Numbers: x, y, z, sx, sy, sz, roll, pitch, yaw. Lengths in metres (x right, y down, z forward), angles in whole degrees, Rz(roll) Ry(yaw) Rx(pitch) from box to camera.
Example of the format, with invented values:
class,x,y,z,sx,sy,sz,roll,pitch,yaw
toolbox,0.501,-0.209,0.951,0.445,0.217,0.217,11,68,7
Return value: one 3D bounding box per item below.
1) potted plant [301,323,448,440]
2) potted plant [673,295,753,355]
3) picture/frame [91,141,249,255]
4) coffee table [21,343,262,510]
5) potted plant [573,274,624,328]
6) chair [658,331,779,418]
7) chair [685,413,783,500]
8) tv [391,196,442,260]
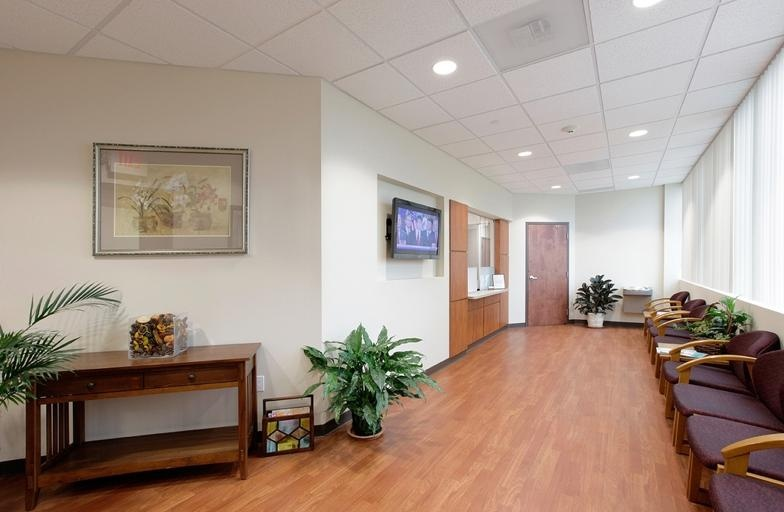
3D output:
class,x,y,z,sx,sy,sz,roll,pitch,yaw
potted plant,-0.232,1.183,4.885,1.181,0.822,1.158,3,-8,-24
potted plant,3.599,0.766,5.587,0.606,0.600,0.529,-1,3,7
picture/frame,-2.190,-0.551,4.721,1.129,0.817,0.055,0,-1,-15
coffee table,-2.237,1.454,4.441,1.953,1.122,0.692,-3,14,-10
potted plant,4.112,0.873,9.852,0.935,1.064,1.001,2,-3,9
chair,3.298,1.081,5.174,1.006,1.061,0.924,-2,-4,21
chair,2.644,1.550,3.893,0.633,0.395,0.879,-1,-1,9
tv,0.296,-0.335,6.238,0.090,0.863,1.064,9,17,36
